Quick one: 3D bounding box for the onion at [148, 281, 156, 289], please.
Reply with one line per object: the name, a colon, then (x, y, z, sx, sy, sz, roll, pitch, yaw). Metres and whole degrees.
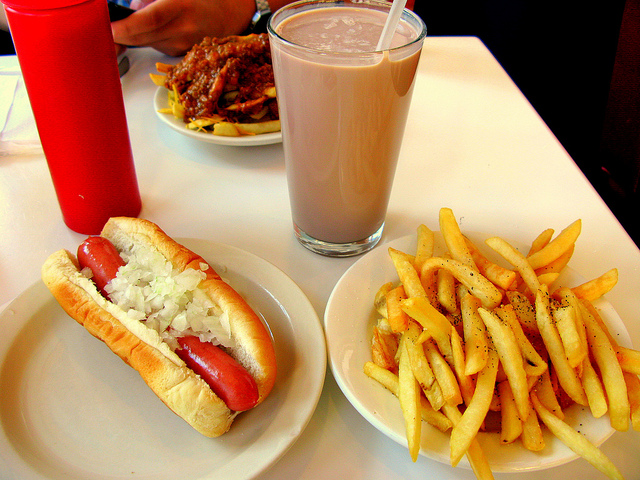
onion: (-0.401, 0.106, 1.199, 0.014, 0.015, 0.014, -1, 7, -9)

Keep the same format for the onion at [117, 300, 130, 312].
onion: (-0.467, 0.155, 1.196, 0.025, 0.026, 0.026, 14, 11, 18)

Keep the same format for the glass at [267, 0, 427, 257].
glass: (0.051, -0.273, 1.329, 0.357, 0.590, 0.338, -2, 48, -5)

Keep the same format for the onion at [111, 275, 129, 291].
onion: (-0.478, 0.103, 1.199, 0.031, 0.038, 0.015, 1, -4, 3)

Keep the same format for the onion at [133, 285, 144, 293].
onion: (-0.435, 0.115, 1.196, 0.016, 0.016, 0.017, 2, 36, -6)

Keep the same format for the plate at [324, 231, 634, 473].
plate: (0.350, 0.211, 1.153, 0.684, 0.109, 0.596, 11, 50, 5)

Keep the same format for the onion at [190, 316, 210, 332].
onion: (-0.280, 0.192, 1.147, 0.029, 0.010, 0.035, 1, 57, -20)

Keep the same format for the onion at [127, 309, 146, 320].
onion: (-0.432, 0.173, 1.173, 0.024, 0.012, 0.028, 26, 12, 30)

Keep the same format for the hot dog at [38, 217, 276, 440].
hot dog: (-0.408, 0.235, 1.283, 0.324, 0.229, 0.655, -32, 63, -35)
